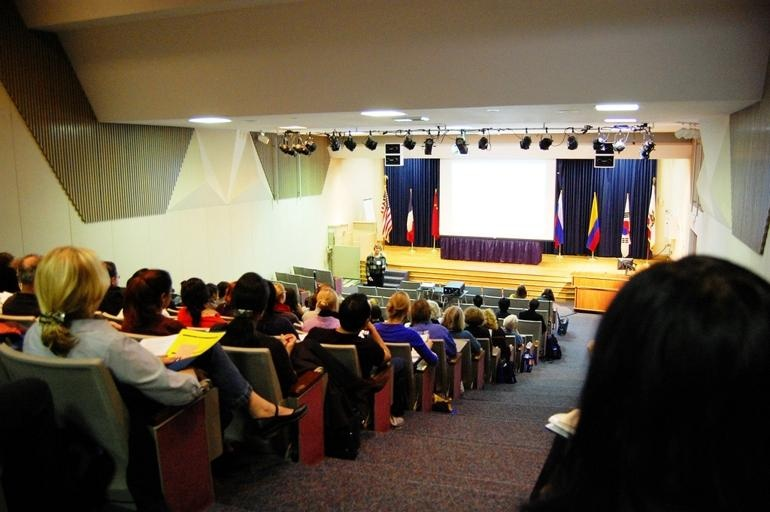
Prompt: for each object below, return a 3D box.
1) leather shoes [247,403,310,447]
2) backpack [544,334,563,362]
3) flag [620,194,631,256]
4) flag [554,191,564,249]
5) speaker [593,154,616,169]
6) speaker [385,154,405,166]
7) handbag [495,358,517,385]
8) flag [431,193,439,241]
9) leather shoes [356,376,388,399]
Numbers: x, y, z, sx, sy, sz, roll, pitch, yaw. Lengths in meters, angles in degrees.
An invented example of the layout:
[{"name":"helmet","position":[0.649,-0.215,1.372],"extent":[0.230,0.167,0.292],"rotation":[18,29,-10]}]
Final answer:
[{"name":"leather shoes","position":[-0.682,1.088,3.380],"extent":[0.359,0.239,0.209],"rotation":[-1,-2,-15]},{"name":"backpack","position":[3.458,1.889,10.751],"extent":[0.386,0.836,0.580],"rotation":[-1,5,18]},{"name":"flag","position":[8.310,-1.057,17.998],"extent":[0.247,2.184,1.225],"rotation":[-2,-2,24]},{"name":"flag","position":[6.261,-1.276,18.811],"extent":[0.303,2.219,1.858],"rotation":[-2,-2,18]},{"name":"speaker","position":[5.367,-2.340,12.763],"extent":[0.406,0.395,0.616],"rotation":[-2,-2,29]},{"name":"speaker","position":[0.306,-2.677,14.533],"extent":[0.516,0.358,0.531],"rotation":[3,10,13]},{"name":"handbag","position":[1.904,1.761,7.999],"extent":[0.286,0.433,0.367],"rotation":[-1,-2,-20]},{"name":"flag","position":[1.982,-1.654,20.185],"extent":[0.261,1.825,0.694],"rotation":[-1,-2,7]},{"name":"leather shoes","position":[-0.090,1.025,4.131],"extent":[0.147,0.102,0.222],"rotation":[5,4,11]}]
